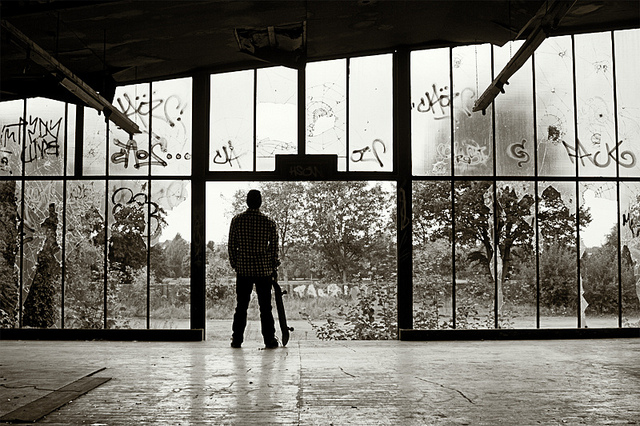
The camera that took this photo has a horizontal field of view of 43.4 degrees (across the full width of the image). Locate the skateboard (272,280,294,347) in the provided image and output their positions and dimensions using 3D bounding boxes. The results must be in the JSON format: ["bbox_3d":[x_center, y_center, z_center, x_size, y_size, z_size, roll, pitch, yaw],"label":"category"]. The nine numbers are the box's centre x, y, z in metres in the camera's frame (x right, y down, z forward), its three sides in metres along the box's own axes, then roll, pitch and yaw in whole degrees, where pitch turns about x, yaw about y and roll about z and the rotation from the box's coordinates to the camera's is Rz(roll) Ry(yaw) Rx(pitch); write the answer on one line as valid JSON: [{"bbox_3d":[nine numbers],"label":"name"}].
[{"bbox_3d":[-0.649,1.652,13.285,0.171,1.162,0.271,-5,-6,-33],"label":"skateboard"}]
